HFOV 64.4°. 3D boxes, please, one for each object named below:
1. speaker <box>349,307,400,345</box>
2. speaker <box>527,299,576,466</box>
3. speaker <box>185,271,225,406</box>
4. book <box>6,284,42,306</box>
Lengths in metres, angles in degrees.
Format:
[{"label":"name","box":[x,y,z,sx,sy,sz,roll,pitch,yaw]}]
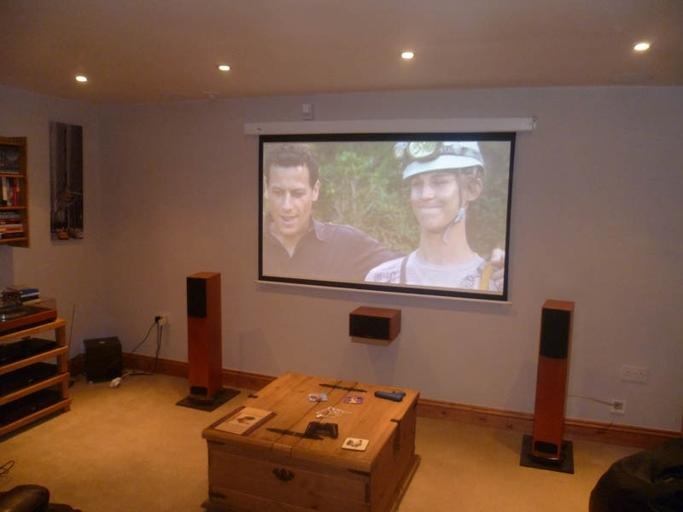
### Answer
[{"label":"speaker","box":[0.318,0.656,5.173,0.441,0.297,0.336,5,6,20]},{"label":"speaker","box":[1.742,1.078,4.489,0.253,1.300,0.138,4,5,14]},{"label":"speaker","box":[-1.388,0.843,5.484,0.250,1.170,0.381,0,1,25]},{"label":"book","box":[-2.955,0.362,4.983,0.161,0.080,0.229,5,9,17]}]
